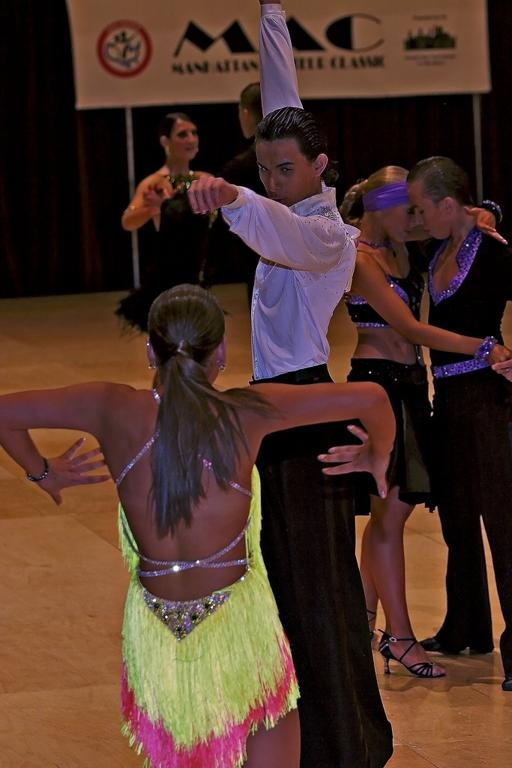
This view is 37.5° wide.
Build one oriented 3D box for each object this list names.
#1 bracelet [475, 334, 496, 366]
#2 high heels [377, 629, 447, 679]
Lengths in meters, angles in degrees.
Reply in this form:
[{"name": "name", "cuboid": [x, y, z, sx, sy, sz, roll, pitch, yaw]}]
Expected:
[{"name": "bracelet", "cuboid": [0.754, -0.108, 2.511, 0.056, 0.088, 0.091, 20, 1, 21]}, {"name": "high heels", "cuboid": [0.538, 0.940, 2.647, 0.259, 0.165, 0.091, -1, 0, 26]}]
